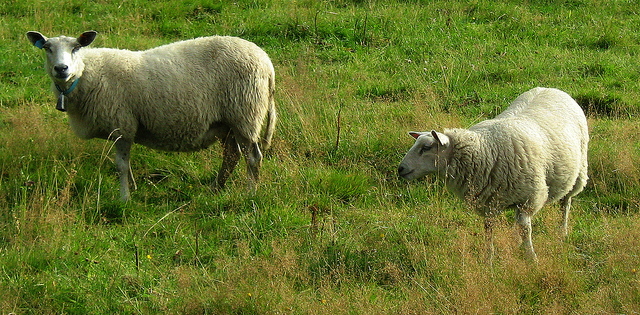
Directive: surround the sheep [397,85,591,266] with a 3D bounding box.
[{"bbox_3d":[3.559,0.317,13.787,3.392,2.877,1.444,-1,14,-10],"label":"sheep"}]
